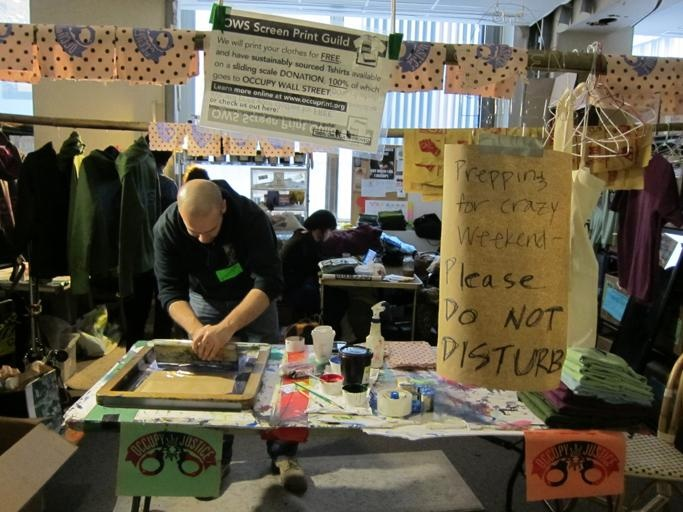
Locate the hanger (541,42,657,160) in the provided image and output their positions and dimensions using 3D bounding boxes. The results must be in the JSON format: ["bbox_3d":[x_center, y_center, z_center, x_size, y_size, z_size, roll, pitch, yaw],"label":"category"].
[{"bbox_3d":[1.112,-0.672,2.661,0.586,0.470,0.300,-5,13,-29],"label":"hanger"}]

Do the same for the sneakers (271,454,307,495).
[{"bbox_3d":[-0.290,1.253,3.393,0.122,0.074,0.194,0,17,-17],"label":"sneakers"}]

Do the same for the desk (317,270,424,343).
[{"bbox_3d":[0.275,0.387,5.350,0.872,0.627,0.944,3,11,7],"label":"desk"}]

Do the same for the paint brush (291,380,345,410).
[{"bbox_3d":[-0.099,0.612,2.586,0.241,0.012,0.035,23,61,37],"label":"paint brush"}]

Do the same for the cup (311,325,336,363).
[{"bbox_3d":[-0.099,0.426,2.923,0.192,0.204,0.145,0,0,-5],"label":"cup"}]

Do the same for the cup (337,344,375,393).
[{"bbox_3d":[0.069,0.494,2.661,0.159,0.144,0.153,1,9,0],"label":"cup"}]

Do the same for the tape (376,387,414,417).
[{"bbox_3d":[0.228,0.609,2.504,0.117,0.069,0.116,2,8,4],"label":"tape"}]

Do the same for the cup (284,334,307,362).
[{"bbox_3d":[-0.237,0.466,2.931,0.106,0.075,0.104,0,0,0],"label":"cup"}]
